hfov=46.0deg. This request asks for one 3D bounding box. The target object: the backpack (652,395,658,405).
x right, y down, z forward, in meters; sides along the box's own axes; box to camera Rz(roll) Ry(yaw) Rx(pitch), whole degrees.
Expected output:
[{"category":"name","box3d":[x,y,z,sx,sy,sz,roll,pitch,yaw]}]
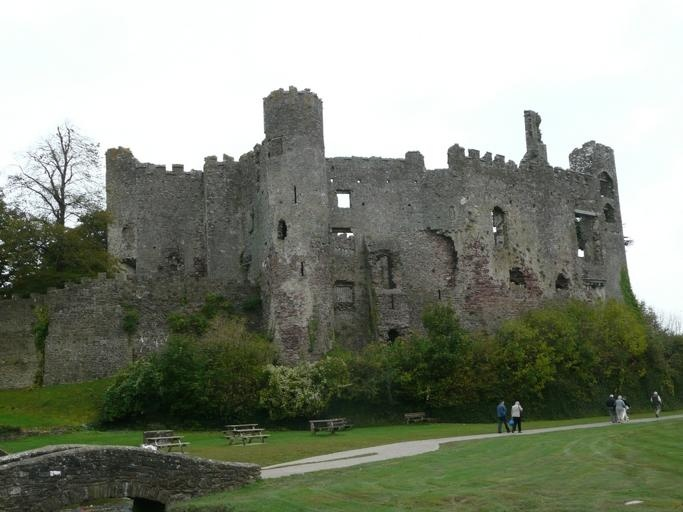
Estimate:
[{"category":"backpack","box3d":[20.110,9.133,51.856,0.460,0.556,0.787,-6,-13,16]}]
